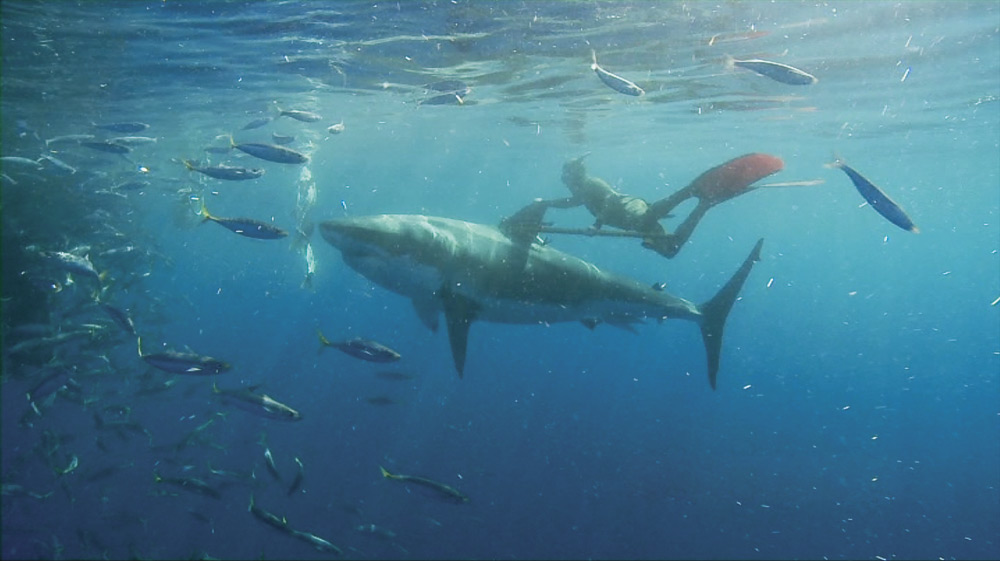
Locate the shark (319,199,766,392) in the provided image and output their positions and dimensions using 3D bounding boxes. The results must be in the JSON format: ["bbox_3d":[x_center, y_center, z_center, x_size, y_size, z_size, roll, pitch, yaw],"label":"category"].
[{"bbox_3d":[0.728,-0.060,41.190,20.589,4.689,7.210,9,-14,-9],"label":"shark"}]
